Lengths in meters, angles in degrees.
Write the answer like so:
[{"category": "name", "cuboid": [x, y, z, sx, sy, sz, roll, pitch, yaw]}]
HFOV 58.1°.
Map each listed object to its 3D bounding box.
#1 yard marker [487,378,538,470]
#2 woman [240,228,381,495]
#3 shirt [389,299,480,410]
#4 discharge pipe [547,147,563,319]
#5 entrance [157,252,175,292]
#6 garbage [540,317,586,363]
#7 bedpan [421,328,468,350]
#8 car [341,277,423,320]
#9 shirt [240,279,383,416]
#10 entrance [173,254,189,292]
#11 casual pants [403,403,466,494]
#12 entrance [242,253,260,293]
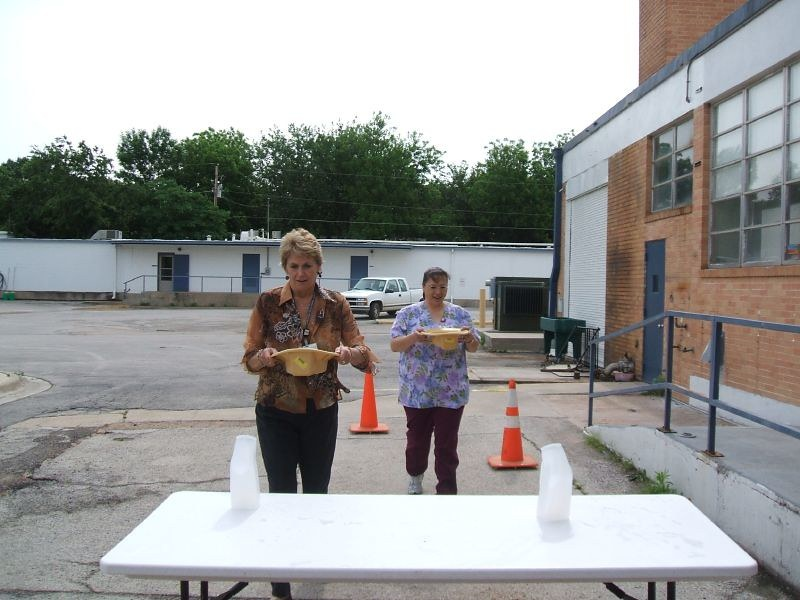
[{"category": "yard marker", "cuboid": [1.149, 1.290, 7.484, 0.720, 0.810, 0.710, 0, -2, -18]}, {"category": "woman", "cuboid": [-0.641, 0.729, 5.194, 0.925, 2.370, 0.937, -1, 7, -23]}, {"category": "shirt", "cuboid": [0.260, 0.489, 6.242, 0.691, 0.916, 0.549, 2, 3, 4]}, {"category": "discharge pipe", "cuboid": [3.563, -1.952, 16.340, 0.287, 2.904, 0.257, 4, 11, 30]}, {"category": "entrance", "cuboid": [-12.078, -1.374, 37.107, 0.850, 2.053, 0.124, 1, -14, -19]}, {"category": "garbage", "cuboid": [3.283, 0.694, 14.650, 0.710, 1.003, 1.361, -1, 6, -9]}, {"category": "bedpan", "cuboid": [0.378, 0.336, 6.044, 0.373, 0.177, 0.279, 2, 3, 1]}, {"category": "car", "cuboid": [-0.991, -0.056, 27.782, 1.507, 1.144, 2.934, -1, 0, 31]}, {"category": "shirt", "cuboid": [-0.692, 0.305, 5.552, 1.032, 1.083, 0.843, 1, -6, -19]}, {"category": "entrance", "cuboid": [-11.272, -1.365, 36.949, 0.795, 1.961, 0.062, -1, 13, -23]}, {"category": "casual pants", "cuboid": [0.301, 1.283, 6.225, 0.564, 0.733, 0.311, 4, 4, 36]}, {"category": "entrance", "cuboid": [-7.617, -1.304, 36.629, 0.989, 2.260, 0.094, -2, 31, -17]}]
